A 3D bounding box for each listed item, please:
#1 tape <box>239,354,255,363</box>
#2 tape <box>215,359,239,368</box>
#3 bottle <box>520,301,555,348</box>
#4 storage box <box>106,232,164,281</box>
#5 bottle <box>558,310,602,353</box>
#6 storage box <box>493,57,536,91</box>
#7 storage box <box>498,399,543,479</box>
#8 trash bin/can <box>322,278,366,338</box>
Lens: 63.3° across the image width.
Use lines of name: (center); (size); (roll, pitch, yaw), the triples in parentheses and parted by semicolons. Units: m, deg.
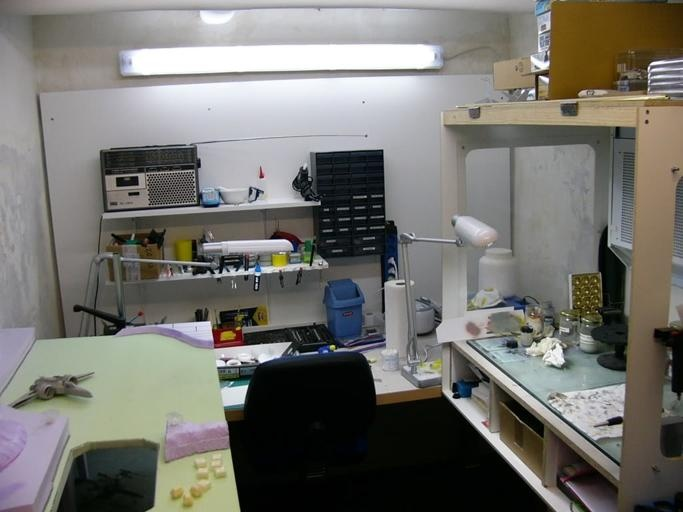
tape: (-0.532, 0.581, 3.143); (0.054, 0.018, 0.054); (4, 4, 35)
tape: (-0.639, 0.606, 3.096); (0.098, 0.027, 0.096); (1, 0, -5)
bottle: (0.943, 0.331, 2.653); (0.222, 0.227, 0.132); (-1, -1, -5)
storage box: (-1.365, -0.033, 3.668); (0.329, 0.223, 0.344); (-1, 13, -6)
bottle: (1.094, 0.356, 2.557); (0.118, 0.179, 0.204); (-5, 7, -36)
storage box: (0.948, -1.006, 3.087); (0.168, 0.179, 0.453); (-4, 11, 9)
storage box: (0.716, 0.726, 2.203); (0.162, 0.148, 0.297); (-1, 8, -9)
trash bin/can: (0.035, 0.361, 3.928); (0.341, 0.490, 0.330); (-2, 3, -18)
